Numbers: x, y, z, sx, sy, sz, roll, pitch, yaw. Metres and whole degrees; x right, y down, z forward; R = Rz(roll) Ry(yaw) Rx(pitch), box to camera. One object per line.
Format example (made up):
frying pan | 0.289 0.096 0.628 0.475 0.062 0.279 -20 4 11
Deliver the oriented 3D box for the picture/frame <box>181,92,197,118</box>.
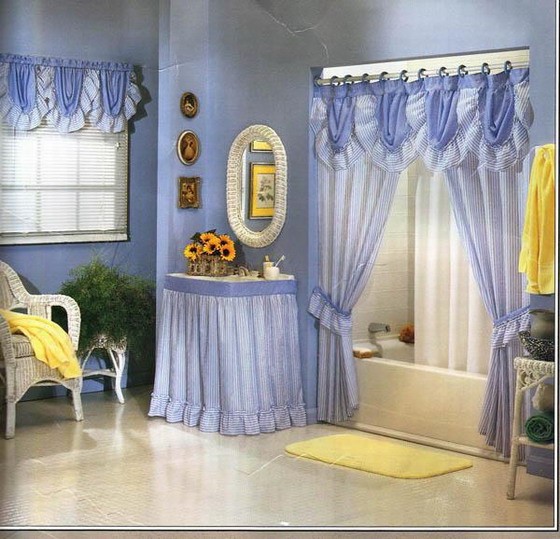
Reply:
picture/frame | -0.529 -0.970 3.179 0.107 0.171 0.021 10 19 29

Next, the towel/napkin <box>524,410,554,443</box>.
towel/napkin | 0.987 0.600 2.071 0.082 0.116 0.038 15 1 27

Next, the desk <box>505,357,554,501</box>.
desk | 1.012 0.612 2.199 0.162 0.552 0.305 3 7 24

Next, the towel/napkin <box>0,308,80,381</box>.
towel/napkin | -1.259 0.406 2.873 0.387 0.318 0.147 19 -45 -35

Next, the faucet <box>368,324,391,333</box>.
faucet | 0.556 0.322 3.064 0.108 0.058 0.049 -3 -2 37

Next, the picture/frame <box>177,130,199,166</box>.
picture/frame | -0.539 -0.726 3.218 0.167 0.278 0.032 2 13 3

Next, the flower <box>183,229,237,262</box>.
flower | -0.392 -0.130 3.085 0.289 0.187 0.238 0 7 -3

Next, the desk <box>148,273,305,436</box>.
desk | -0.319 0.369 3.183 0.697 0.981 0.903 -1 4 -37

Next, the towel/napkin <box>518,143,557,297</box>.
towel/napkin | 1.040 -0.198 2.185 0.149 0.604 0.086 6 9 44

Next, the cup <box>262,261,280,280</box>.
cup | -0.054 0.008 2.977 0.065 0.100 0.096 0 -1 -17

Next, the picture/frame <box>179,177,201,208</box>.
picture/frame | -0.532 -0.468 3.237 0.150 0.230 0.024 1 2 9
